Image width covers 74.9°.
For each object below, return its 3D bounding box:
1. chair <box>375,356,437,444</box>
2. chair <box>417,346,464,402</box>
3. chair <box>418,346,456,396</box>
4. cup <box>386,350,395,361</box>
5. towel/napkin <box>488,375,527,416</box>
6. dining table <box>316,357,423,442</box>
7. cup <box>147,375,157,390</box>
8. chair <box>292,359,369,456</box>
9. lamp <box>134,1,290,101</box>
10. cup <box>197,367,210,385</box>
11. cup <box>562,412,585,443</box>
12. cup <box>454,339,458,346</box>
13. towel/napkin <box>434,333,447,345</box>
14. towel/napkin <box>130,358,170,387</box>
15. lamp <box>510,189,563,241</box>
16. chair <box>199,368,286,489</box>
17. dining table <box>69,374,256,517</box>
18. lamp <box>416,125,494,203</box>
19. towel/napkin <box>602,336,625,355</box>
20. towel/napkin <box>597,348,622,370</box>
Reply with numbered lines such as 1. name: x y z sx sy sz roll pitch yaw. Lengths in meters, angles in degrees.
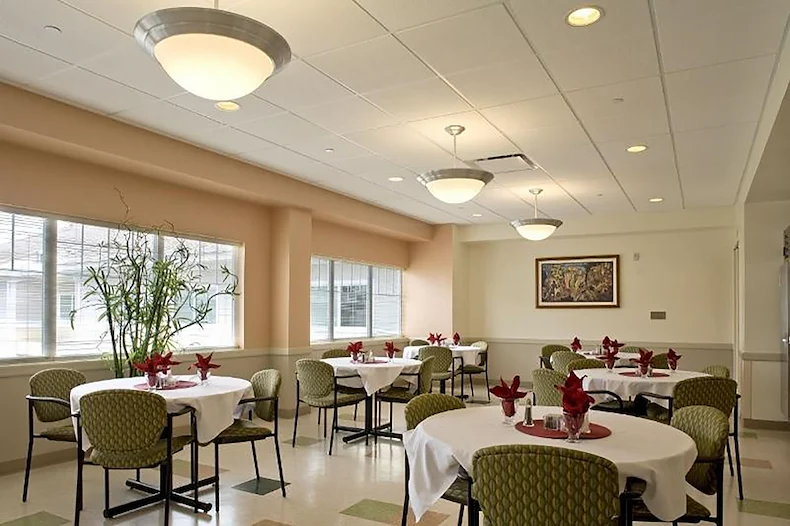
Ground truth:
1. chair: 0.055 1.796 6.958 0.660 0.913 0.578 4 -10 -4
2. chair: 0.756 1.776 8.429 0.708 0.917 0.737 2 -5 -42
3. chair: 0.721 1.776 8.459 0.678 0.935 0.655 0 2 -2
4. cup: -0.069 1.347 7.543 0.131 0.126 0.121 0 -7 0
5. towel/napkin: 0.850 1.053 3.986 0.240 0.251 0.263 -3 -1 -35
6. dining table: -0.368 1.909 7.028 1.228 0.909 1.208 3 -13 -4
7. cup: -2.353 1.160 5.003 0.132 0.132 0.127 0 -5 0
8. chair: -0.822 1.798 6.689 0.895 1.125 0.845 -2 -4 21
9. lamp: -1.244 -1.430 3.471 0.764 0.231 0.753 -6 -15 21
10. cup: -2.007 1.197 5.460 0.160 0.180 0.172 -1 -7 0
11. cup: 1.237 1.138 3.589 0.117 0.209 0.157 -2 -7 21
12. cup: 1.190 1.557 10.027 0.112 0.118 0.115 0 -4 0
13. towel/napkin: 0.836 1.456 9.782 0.178 0.182 0.489 -1 -7 9
14. towel/napkin: -2.425 1.100 5.123 0.303 0.211 0.315 -9 -13 38
15. lamp: 2.198 -0.791 8.212 0.873 0.806 0.861 2 -3 3
16. chair: -1.602 1.700 5.337 0.762 1.146 0.731 8 -9 -36
17. dining table: -2.303 1.487 5.024 1.441 0.949 1.441 -4 -7 29
18. lamp: 0.648 -1.105 5.772 0.831 0.773 0.805 0 0 -41
19. towel/napkin: 3.597 1.373 8.524 0.366 0.279 0.370 -4 -8 43
20. towel/napkin: 2.984 1.354 7.216 0.302 0.280 0.291 3 -8 -21
